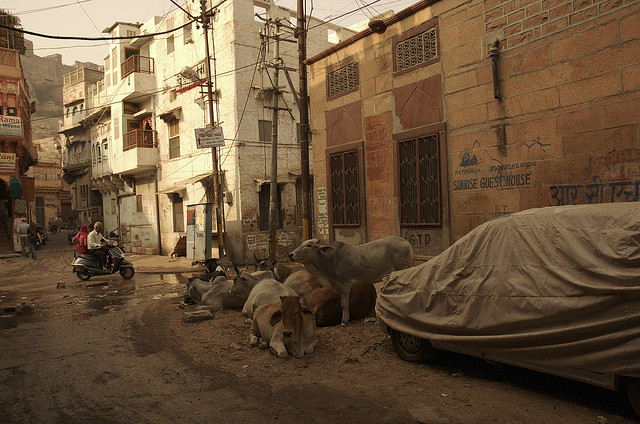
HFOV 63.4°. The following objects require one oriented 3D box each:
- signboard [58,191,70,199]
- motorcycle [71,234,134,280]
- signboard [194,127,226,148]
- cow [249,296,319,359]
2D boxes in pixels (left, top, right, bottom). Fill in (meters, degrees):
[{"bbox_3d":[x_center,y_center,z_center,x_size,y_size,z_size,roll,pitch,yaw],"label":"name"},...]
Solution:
[{"bbox_3d":[-28.911,-1.824,58.394,0.272,1.026,1.451,1,11,14],"label":"signboard"},{"bbox_3d":[-7.591,1.658,18.056,2.098,1.552,1.091,-2,3,-7],"label":"motorcycle"},{"bbox_3d":[-4.122,-2.772,19.382,1.214,0.942,0.064,-6,4,-11],"label":"signboard"},{"bbox_3d":[-0.763,2.252,10.674,1.393,1.314,2.282,-3,5,-17],"label":"cow"}]
